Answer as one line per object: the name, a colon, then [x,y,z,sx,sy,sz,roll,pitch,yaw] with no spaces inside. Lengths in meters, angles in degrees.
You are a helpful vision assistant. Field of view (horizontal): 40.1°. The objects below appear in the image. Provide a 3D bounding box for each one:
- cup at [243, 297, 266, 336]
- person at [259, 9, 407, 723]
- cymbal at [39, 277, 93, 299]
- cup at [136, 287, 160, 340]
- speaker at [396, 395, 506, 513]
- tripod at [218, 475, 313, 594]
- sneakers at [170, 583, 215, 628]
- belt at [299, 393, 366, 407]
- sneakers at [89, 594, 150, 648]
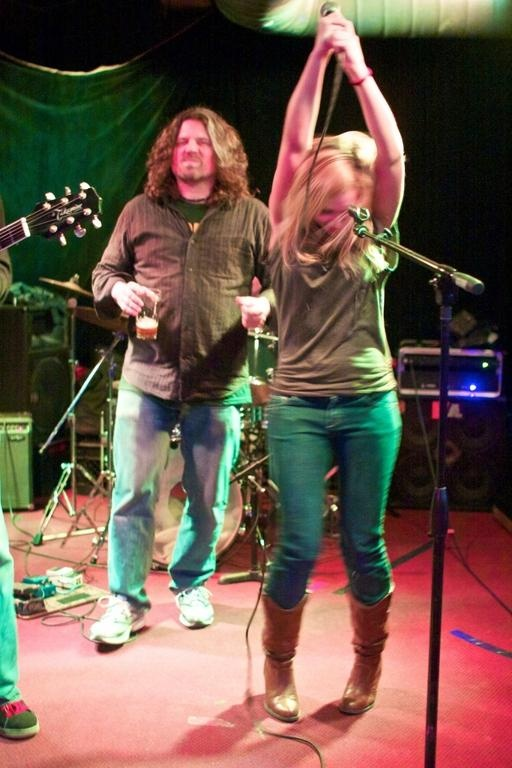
cup: [-0.014,-0.202,2.134,0.064,0.099,0.078,6,-1,-11]
person: [0.171,0.037,1.607,0.314,1.606,0.352,0,1,0]
cymbal: [-1.351,-0.682,5.007,0.342,0.080,0.333,19,11,-14]
cup: [-0.329,-0.209,2.127,0.065,0.142,0.074,0,1,-11]
speaker: [1.103,0.363,3.863,0.797,0.712,0.406,1,-2,3]
tripod: [0.000,0.674,3.057,0.344,0.349,0.320,14,-11,-23]
sneakers: [-0.207,0.785,2.466,0.096,0.071,0.188,0,-5,-17]
belt: [0.165,0.040,1.543,0.139,0.032,0.033,0,1,2]
sneakers: [-0.445,0.777,2.318,0.202,0.151,0.162,-1,1,-23]
